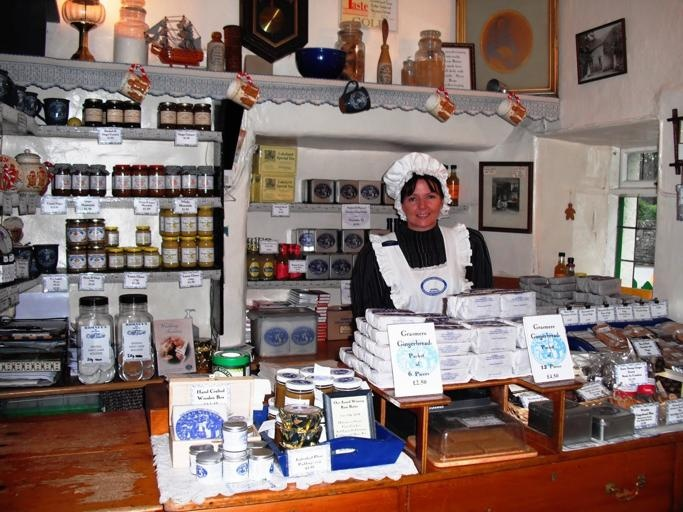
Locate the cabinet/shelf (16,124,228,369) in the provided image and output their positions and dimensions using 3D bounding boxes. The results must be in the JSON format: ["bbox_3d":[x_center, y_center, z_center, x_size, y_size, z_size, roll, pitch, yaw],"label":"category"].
[{"bbox_3d":[-1.345,-0.067,3.248,1.495,1.448,0.478,-1,2,-18],"label":"cabinet/shelf"}]

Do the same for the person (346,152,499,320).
[{"bbox_3d":[0.480,-0.129,3.066,0.822,0.887,0.449,-3,2,-26],"label":"person"}]

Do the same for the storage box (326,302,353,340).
[{"bbox_3d":[-0.019,0.524,4.351,0.230,0.236,0.233,1,-1,-13],"label":"storage box"}]

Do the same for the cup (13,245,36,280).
[{"bbox_3d":[-1.761,0.022,3.002,0.110,0.185,0.107,3,1,0],"label":"cup"}]

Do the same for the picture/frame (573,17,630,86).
[{"bbox_3d":[1.812,-1.416,3.745,0.029,0.551,0.554,-4,3,-20],"label":"picture/frame"}]

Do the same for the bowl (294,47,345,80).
[{"bbox_3d":[-0.159,-1.297,3.673,0.333,0.195,0.346,3,10,0],"label":"bowl"}]

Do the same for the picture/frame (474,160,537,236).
[{"bbox_3d":[1.338,-0.480,4.360,0.585,0.805,0.058,3,7,33],"label":"picture/frame"}]

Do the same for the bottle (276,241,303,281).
[{"bbox_3d":[-0.388,0.027,4.025,0.186,0.275,0.144,6,27,-2],"label":"bottle"}]

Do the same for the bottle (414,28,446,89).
[{"bbox_3d":[0.641,-1.434,3.974,0.220,0.403,0.228,-1,12,0],"label":"bottle"}]

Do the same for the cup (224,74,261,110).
[{"bbox_3d":[-0.605,-1.026,3.366,0.220,0.214,0.146,-2,2,-23],"label":"cup"}]

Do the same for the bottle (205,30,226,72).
[{"bbox_3d":[-0.809,-1.312,3.499,0.115,0.261,0.115,-2,2,0],"label":"bottle"}]

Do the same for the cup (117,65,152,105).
[{"bbox_3d":[-1.206,-1.011,3.166,0.170,0.222,0.146,-2,2,-20],"label":"cup"}]

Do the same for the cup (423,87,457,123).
[{"bbox_3d":[0.666,-1.029,3.673,0.184,0.191,0.095,-1,2,9],"label":"cup"}]

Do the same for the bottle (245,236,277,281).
[{"bbox_3d":[-0.569,0.015,3.902,0.227,0.287,0.071,-3,2,-36],"label":"bottle"}]

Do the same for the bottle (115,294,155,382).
[{"bbox_3d":[-1.210,0.484,3.157,0.243,0.494,0.251,-4,-6,0],"label":"bottle"}]

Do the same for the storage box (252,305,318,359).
[{"bbox_3d":[-0.410,0.550,3.857,0.468,0.306,0.134,-2,2,-13],"label":"storage box"}]

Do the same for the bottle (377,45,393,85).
[{"bbox_3d":[0.311,-1.394,3.941,0.101,0.340,0.269,-1,2,2],"label":"bottle"}]

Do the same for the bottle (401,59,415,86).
[{"bbox_3d":[0.497,-1.381,4.057,0.100,0.269,0.268,-1,2,7],"label":"bottle"}]

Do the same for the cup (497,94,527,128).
[{"bbox_3d":[1.219,-1.056,3.881,0.200,0.215,0.102,-1,2,12],"label":"cup"}]

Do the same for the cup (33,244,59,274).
[{"bbox_3d":[-1.704,0.011,3.122,0.154,0.176,0.156,1,-1,0],"label":"cup"}]

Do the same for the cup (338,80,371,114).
[{"bbox_3d":[0.087,-1.009,3.493,0.171,0.244,0.155,-10,11,0],"label":"cup"}]

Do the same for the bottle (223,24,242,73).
[{"bbox_3d":[-0.703,-1.343,3.503,0.113,0.371,0.220,-2,2,-10],"label":"bottle"}]
